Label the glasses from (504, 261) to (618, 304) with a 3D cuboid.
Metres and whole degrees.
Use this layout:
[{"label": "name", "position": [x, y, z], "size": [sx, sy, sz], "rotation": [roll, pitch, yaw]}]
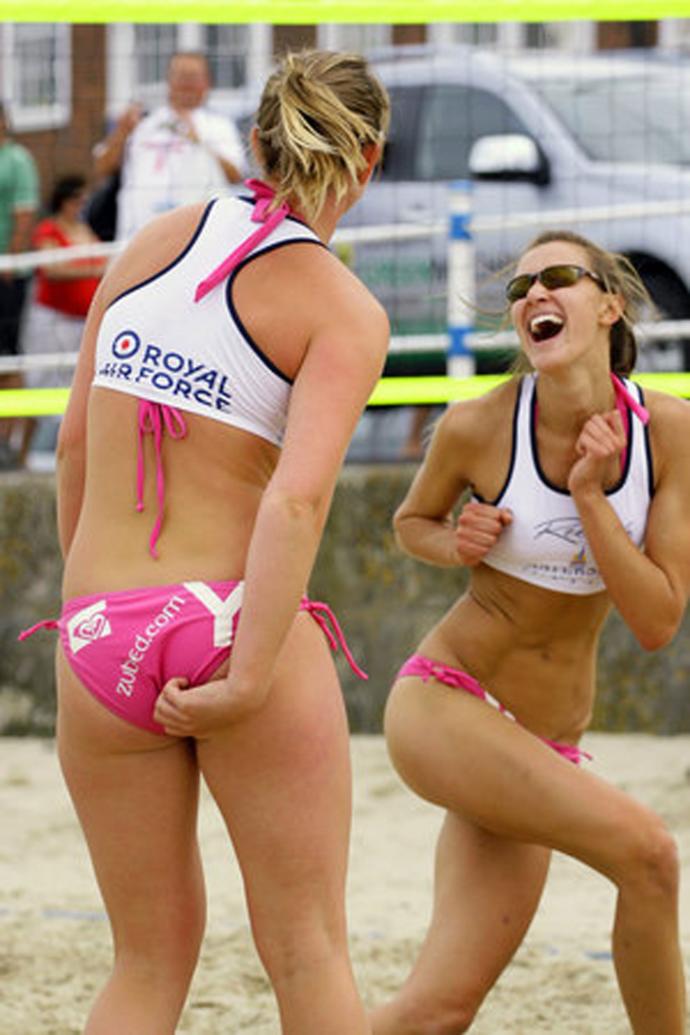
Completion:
[{"label": "glasses", "position": [0.388, -0.435, 2.616], "size": [0.184, 0.073, 0.074], "rotation": [1, 17, 6]}]
